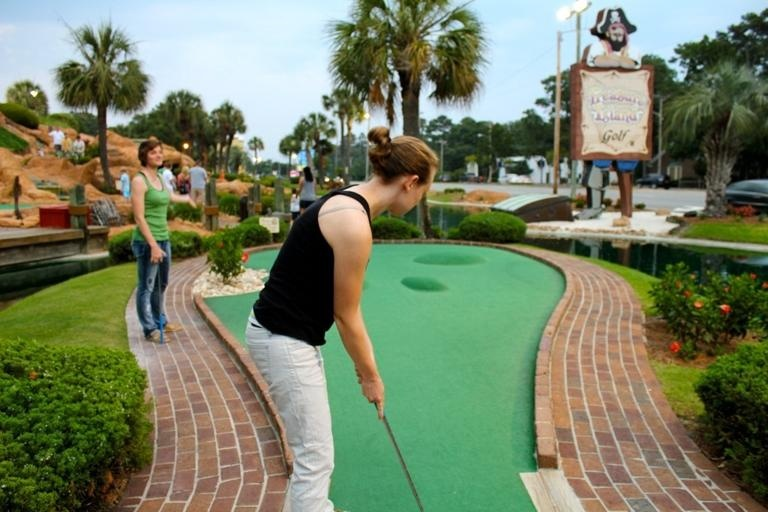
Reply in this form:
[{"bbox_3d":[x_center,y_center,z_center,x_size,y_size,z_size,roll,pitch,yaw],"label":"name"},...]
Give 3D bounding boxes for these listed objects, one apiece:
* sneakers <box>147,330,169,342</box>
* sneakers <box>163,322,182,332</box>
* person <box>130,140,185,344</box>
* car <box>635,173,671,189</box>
[{"bbox_3d":[-3.112,1.086,8.618,0.266,0.139,0.139,2,14,-5],"label":"sneakers"},{"bbox_3d":[-3.036,1.016,8.977,0.213,0.100,0.107,-2,10,-9],"label":"sneakers"},{"bbox_3d":[-3.076,-0.187,8.332,0.505,2.737,0.594,-3,8,-21],"label":"person"},{"bbox_3d":[20.384,-5.611,46.867,1.134,1.016,2.511,-1,9,-21],"label":"car"}]
